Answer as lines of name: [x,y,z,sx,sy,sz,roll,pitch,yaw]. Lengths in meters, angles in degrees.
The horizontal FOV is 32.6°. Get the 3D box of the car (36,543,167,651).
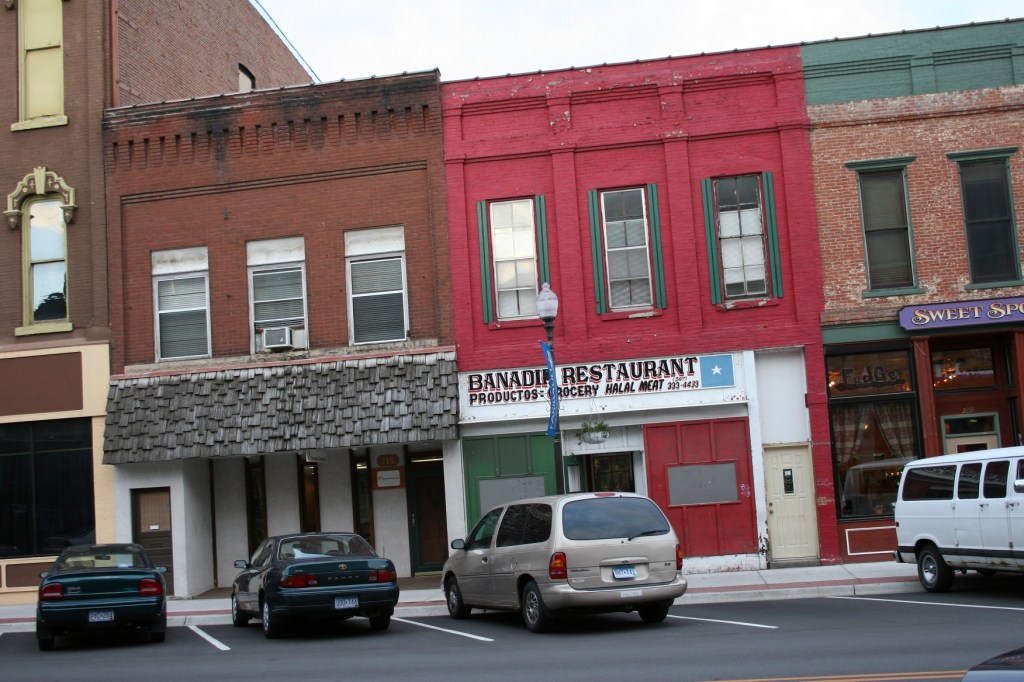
car: [-8.663,5.287,36.920,1.811,1.133,3.043,0,0,-11]

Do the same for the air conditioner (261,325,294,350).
air conditioner: [-5.970,-0.108,44.811,1.045,0.632,0.541,-2,-7,11]

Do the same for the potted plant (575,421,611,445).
potted plant: [1.987,2.141,42.918,0.791,0.542,0.950,-4,-8,-3]
